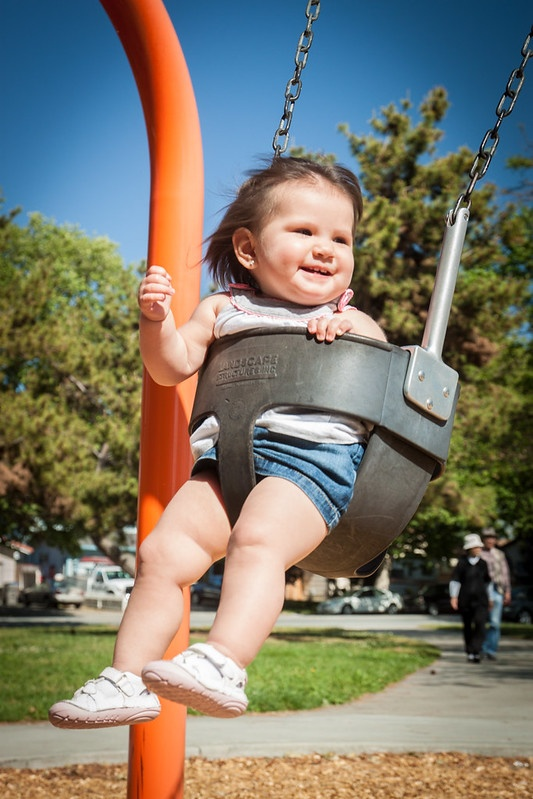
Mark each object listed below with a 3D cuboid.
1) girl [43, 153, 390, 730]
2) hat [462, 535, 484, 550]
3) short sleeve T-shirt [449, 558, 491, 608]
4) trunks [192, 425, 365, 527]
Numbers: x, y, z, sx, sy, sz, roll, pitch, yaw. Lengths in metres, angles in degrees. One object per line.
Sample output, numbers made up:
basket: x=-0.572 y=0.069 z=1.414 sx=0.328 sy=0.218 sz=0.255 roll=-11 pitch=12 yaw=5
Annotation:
girl: x=-0.046 y=0.042 z=1.485 sx=0.447 sy=1.135 sz=0.457 roll=9 pitch=-8 yaw=14
hat: x=1.237 y=0.864 z=4.888 sx=0.100 sy=0.070 sz=0.131 roll=-4 pitch=-2 yaw=25
short sleeve T-shirt: x=0.902 y=0.803 z=3.602 sx=0.210 sy=0.218 sz=0.097 roll=1 pitch=-10 yaw=-4
trunks: x=0.008 y=0.129 z=1.504 sx=0.225 sy=0.125 sz=0.277 roll=15 pitch=-3 yaw=-38
